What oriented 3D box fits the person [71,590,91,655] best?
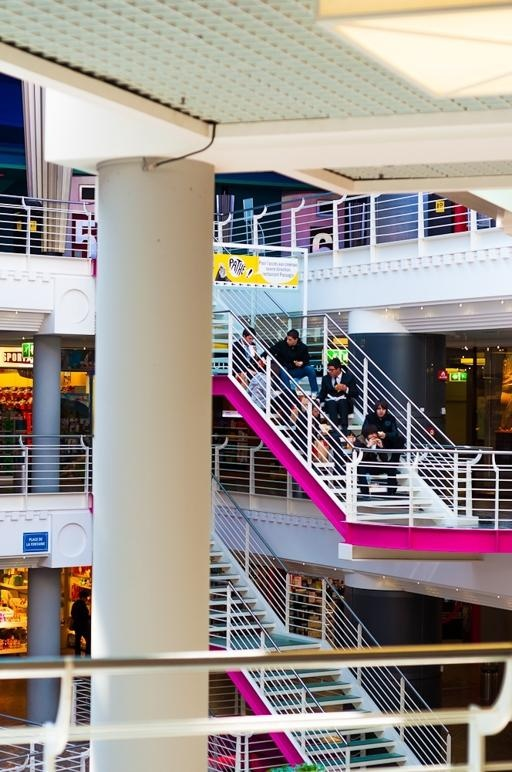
[{"bbox_3d":[-2.076,2.823,12.685,0.217,0.718,1.076,-1,5,-10],"label":"person"}]
